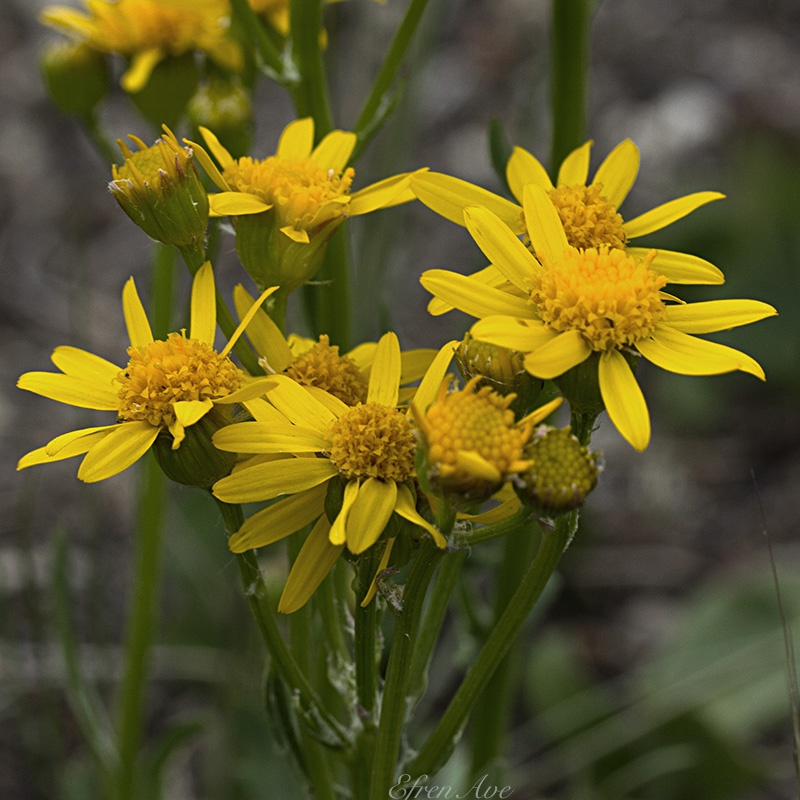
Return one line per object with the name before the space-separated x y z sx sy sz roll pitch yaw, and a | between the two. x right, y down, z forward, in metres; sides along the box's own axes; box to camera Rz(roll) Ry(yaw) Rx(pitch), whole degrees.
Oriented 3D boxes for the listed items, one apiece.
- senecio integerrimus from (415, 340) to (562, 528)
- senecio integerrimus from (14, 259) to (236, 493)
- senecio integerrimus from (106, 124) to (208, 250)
senecio integerrimus | 0.047 0.014 0.550 0.079 0.105 0.127 -5 -23 1
senecio integerrimus | -0.163 -0.013 0.578 0.136 0.140 0.051 -12 -23 15
senecio integerrimus | -0.146 -0.135 0.592 0.061 0.065 0.069 3 -24 -18
